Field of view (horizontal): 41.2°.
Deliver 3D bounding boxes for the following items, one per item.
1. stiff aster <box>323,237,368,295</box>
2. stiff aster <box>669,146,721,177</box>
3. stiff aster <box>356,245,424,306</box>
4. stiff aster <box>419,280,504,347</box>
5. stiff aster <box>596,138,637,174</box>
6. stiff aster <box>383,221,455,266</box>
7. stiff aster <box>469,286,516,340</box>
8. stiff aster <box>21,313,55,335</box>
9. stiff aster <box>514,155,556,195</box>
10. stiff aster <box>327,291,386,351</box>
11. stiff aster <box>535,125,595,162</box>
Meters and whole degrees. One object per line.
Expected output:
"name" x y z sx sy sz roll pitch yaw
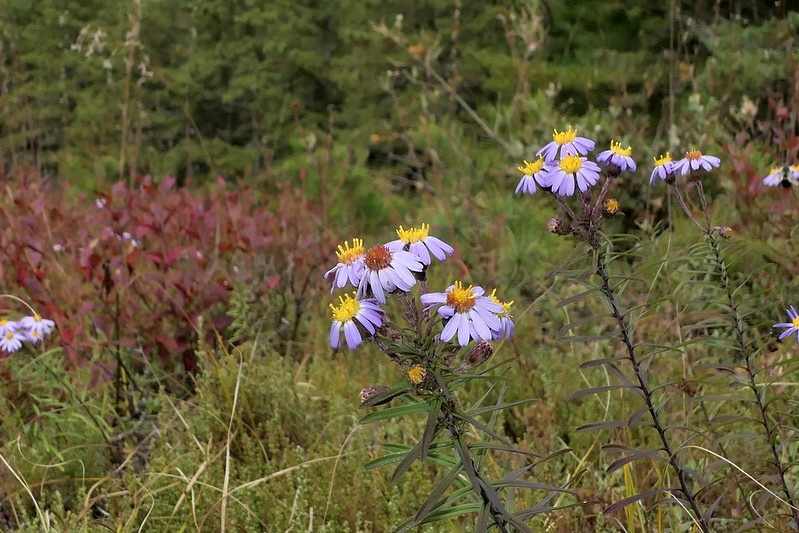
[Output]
"stiff aster" -0.405 0.037 7.328 0.339 0.218 0.350 -36 3 19
"stiff aster" 2.129 -0.747 7.777 0.247 0.164 0.267 -23 12 -8
"stiff aster" -0.112 0.037 7.267 0.505 0.281 0.510 -9 22 27
"stiff aster" 0.413 0.325 7.192 0.550 0.383 0.297 1 15 7
"stiff aster" 1.543 -0.764 7.687 0.259 0.249 0.513 2 17 11
"stiff aster" 0.178 -0.134 7.341 0.389 0.254 0.392 -3 -9 -28
"stiff aster" 0.680 0.294 7.279 0.206 0.193 0.208 26 6 -35
"stiff aster" -2.820 0.482 8.292 0.182 0.085 0.194 30 37 9
"stiff aster" 0.919 -0.641 7.534 0.321 0.218 0.362 -16 5 -37
"stiff aster" -0.191 0.369 7.341 0.416 0.289 0.431 17 0 33
"stiff aster" 1.158 -0.878 7.525 0.392 0.228 0.444 -7 -3 -6
